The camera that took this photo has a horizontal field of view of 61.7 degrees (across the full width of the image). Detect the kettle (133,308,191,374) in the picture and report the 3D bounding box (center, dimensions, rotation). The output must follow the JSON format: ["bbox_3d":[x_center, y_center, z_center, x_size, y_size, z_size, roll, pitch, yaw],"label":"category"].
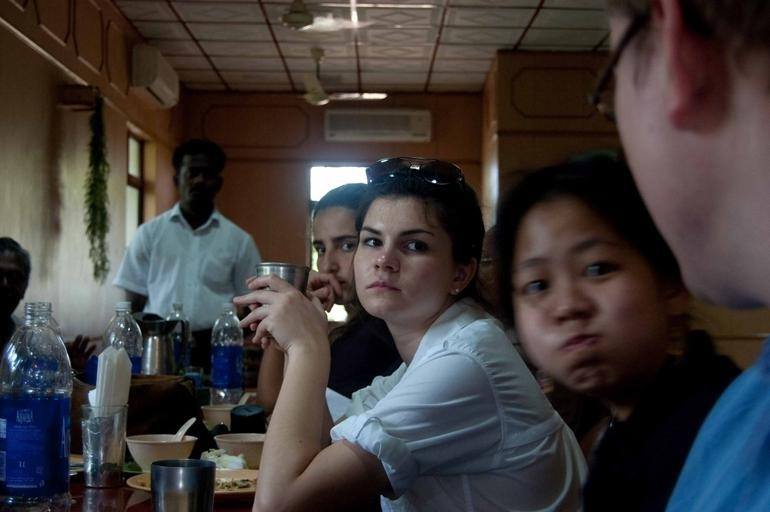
[{"bbox_3d":[-0.791,0.347,2.363,0.211,0.230,0.149,-2,2,5],"label":"kettle"}]

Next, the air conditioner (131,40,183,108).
[{"bbox_3d":[-2.302,-1.818,6.486,0.270,0.527,0.572,-1,-8,4],"label":"air conditioner"}]

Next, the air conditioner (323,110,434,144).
[{"bbox_3d":[-0.081,-1.618,7.998,1.323,0.398,0.153,0,-8,-2],"label":"air conditioner"}]

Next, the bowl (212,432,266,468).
[{"bbox_3d":[-0.355,0.478,1.623,0.138,0.058,0.138,1,-10,0],"label":"bowl"}]

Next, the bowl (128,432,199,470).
[{"bbox_3d":[-0.529,0.459,1.518,0.135,0.062,0.132,0,-10,0],"label":"bowl"}]

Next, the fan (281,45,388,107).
[{"bbox_3d":[-0.603,-1.812,6.470,1.044,0.468,1.101,24,23,34],"label":"fan"}]

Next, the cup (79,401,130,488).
[{"bbox_3d":[-0.631,0.431,1.445,0.089,0.180,0.067,3,-9,-17],"label":"cup"}]
